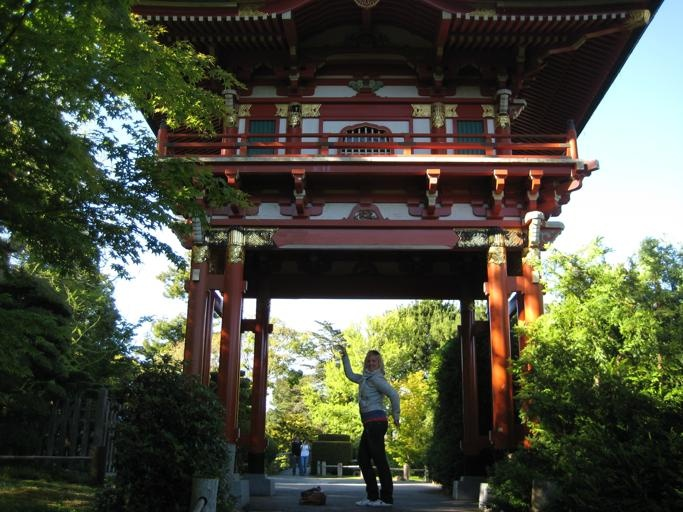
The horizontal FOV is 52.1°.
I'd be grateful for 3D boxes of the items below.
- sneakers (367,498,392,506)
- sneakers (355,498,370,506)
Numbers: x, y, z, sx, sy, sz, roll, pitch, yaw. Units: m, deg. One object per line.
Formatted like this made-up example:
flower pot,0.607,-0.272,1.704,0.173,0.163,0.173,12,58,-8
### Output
sneakers,0.641,4.121,11.620,0.414,0.165,0.148,4,-32,5
sneakers,0.331,4.139,11.713,0.284,0.122,0.105,1,-19,16
